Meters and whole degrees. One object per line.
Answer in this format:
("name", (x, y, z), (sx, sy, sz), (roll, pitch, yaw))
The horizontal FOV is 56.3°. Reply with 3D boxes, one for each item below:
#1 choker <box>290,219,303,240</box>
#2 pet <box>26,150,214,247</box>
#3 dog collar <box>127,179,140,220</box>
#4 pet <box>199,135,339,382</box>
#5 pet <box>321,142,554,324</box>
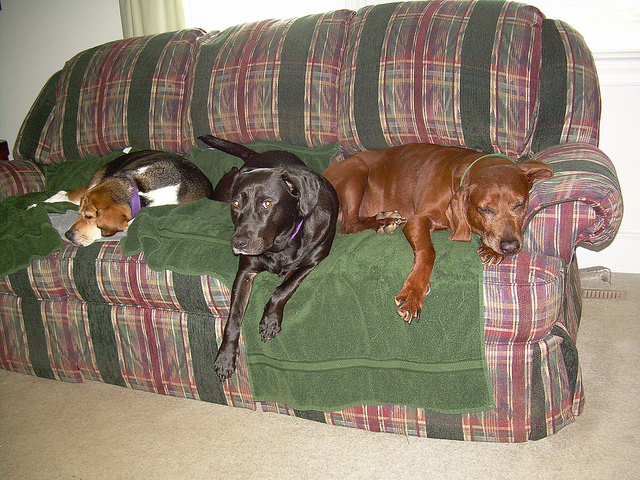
("choker", (-0.114, -0.049, 2.978), (0.013, 0.013, 0.113), (9, 62, 47))
("pet", (-1.084, -0.287, 3.581), (0.668, 0.291, 0.830), (16, 27, 36))
("dog collar", (-1.084, -0.218, 3.557), (0.088, 0.180, 0.127), (-1, 7, -18))
("pet", (-0.224, 0.034, 3.114), (0.643, 0.634, 1.145), (9, 54, 3))
("pet", (0.548, -0.233, 3.131), (0.849, 0.398, 1.056), (-28, 31, -16))
